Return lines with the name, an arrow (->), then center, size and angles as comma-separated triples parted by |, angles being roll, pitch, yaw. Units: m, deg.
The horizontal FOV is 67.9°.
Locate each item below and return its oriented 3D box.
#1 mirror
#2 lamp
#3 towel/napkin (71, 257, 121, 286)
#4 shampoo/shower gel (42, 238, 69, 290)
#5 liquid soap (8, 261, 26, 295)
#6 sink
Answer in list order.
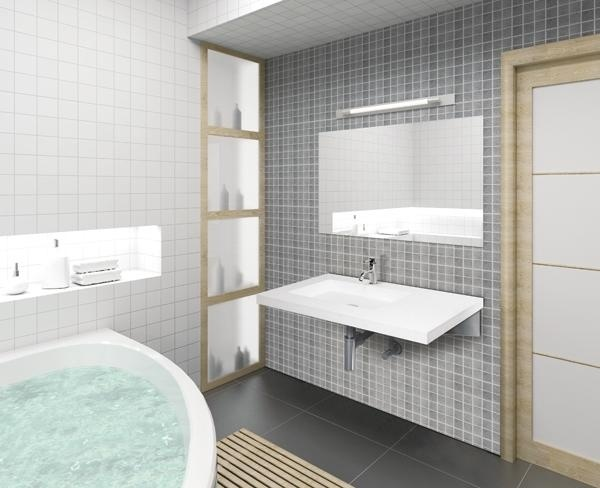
mirror -> 0.753, -0.452, 3.154 | 1.232, 0.658, 0.028 | 3, 7, 38
lamp -> 0.637, -0.973, 3.172 | 0.927, 0.120, 0.054 | 9, 16, 37
towel/napkin -> -1.460, 0.157, 3.140 | 0.280, 0.125, 0.206 | -5, 9, -43
shampoo/shower gel -> -1.630, 0.135, 2.974 | 0.156, 0.310, 0.170 | 1, 13, 6
liquid soap -> -1.809, 0.208, 2.846 | 0.108, 0.198, 0.167 | -4, 13, -17
sink -> 0.450, 0.448, 2.983 | 1.210, 0.257, 0.804 | 10, 15, 38
